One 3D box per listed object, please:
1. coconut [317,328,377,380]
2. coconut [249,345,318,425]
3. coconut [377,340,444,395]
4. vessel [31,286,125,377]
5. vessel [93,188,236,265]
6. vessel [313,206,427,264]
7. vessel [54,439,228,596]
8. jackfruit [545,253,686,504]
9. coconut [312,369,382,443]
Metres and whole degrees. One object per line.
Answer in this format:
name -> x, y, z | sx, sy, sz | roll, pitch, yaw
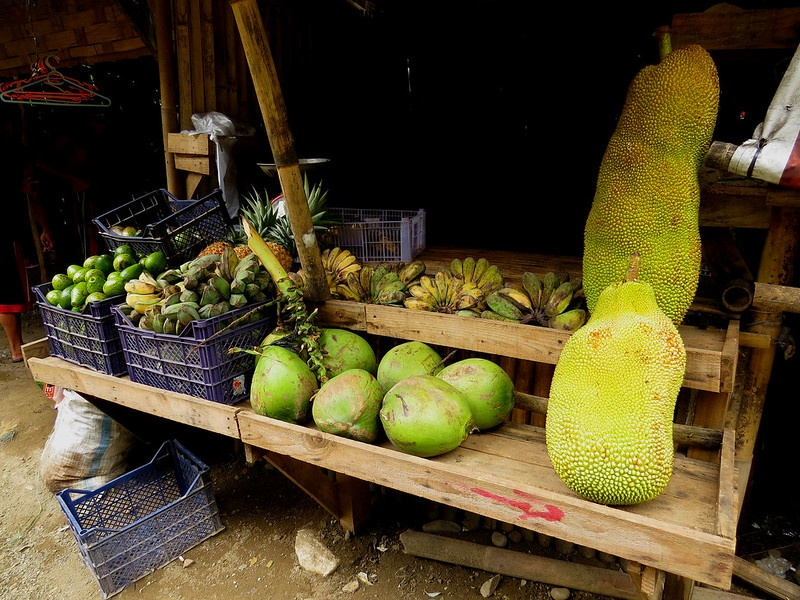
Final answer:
coconut -> -0.294, 0.287, 2.965 | 0.309, 0.254, 0.274 | 5, 59, -17
coconut -> -0.596, 0.476, 2.912 | 0.349, 0.399, 0.478 | 8, 49, -13
coconut -> 0.042, 0.330, 2.881 | 0.311, 0.277, 0.266 | -8, 17, -32
vessel -> -1.927, 0.134, 3.527 | 0.691, 0.465, 0.467 | 15, 26, 29
vessel -> -1.685, -0.525, 3.795 | 0.909, 0.460, 0.650 | 12, 48, 46
vessel -> -0.223, -0.530, 4.444 | 0.800, 0.334, 0.496 | 2, 31, 6
vessel -> -1.804, 1.477, 3.820 | 0.849, 0.555, 0.672 | -22, 35, -40
jackfruit -> 0.940, 0.356, 2.316 | 0.554, 0.977, 0.500 | 18, 31, 30
coconut -> -0.246, 0.524, 2.647 | 0.284, 0.365, 0.213 | 28, 32, -17
